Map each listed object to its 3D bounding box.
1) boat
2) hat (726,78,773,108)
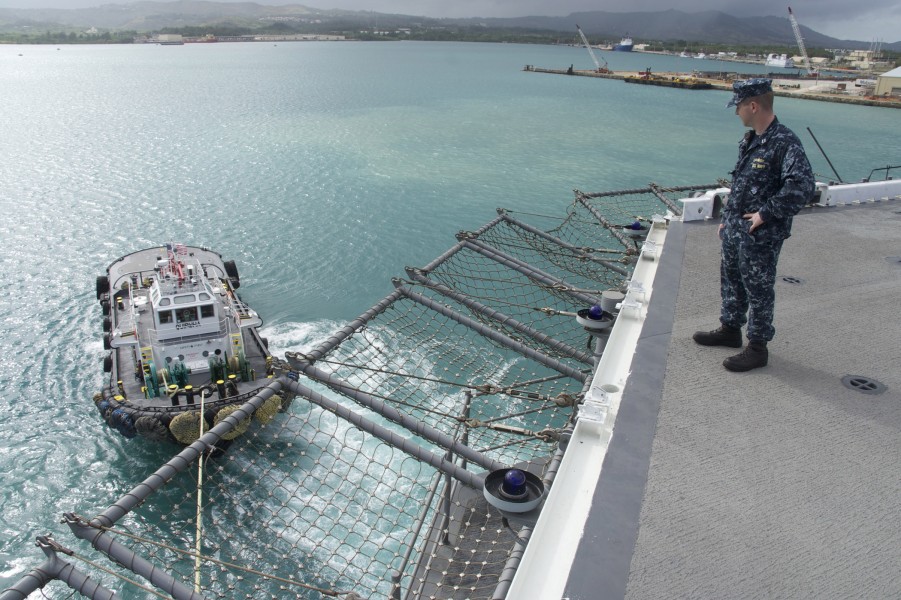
[{"bbox_3d":[-9.510,1.800,23.813,6.838,4.438,11.873,-15,32,-23],"label":"boat"},{"bbox_3d":[4.641,-3.187,10.092,0.572,0.387,0.480,2,24,19],"label":"hat"}]
